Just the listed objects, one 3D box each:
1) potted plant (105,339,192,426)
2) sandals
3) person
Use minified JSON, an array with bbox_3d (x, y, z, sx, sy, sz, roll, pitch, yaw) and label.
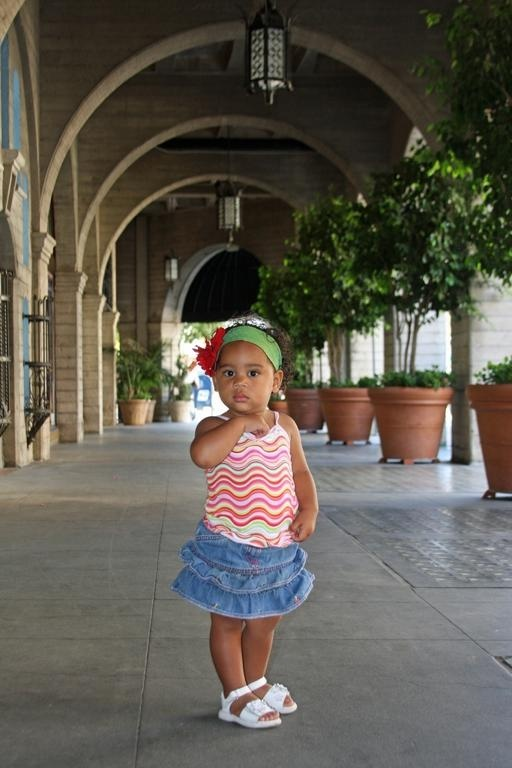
[{"bbox_3d":[-3.114,-0.039,21.047,2.252,2.561,2.157,3,1,3],"label":"potted plant"},{"bbox_3d":[0.001,0.712,1.675,0.100,0.064,0.120,-7,-5,24],"label":"sandals"},{"bbox_3d":[-0.020,0.289,1.732,0.333,0.930,0.270,1,-1,-14],"label":"person"}]
